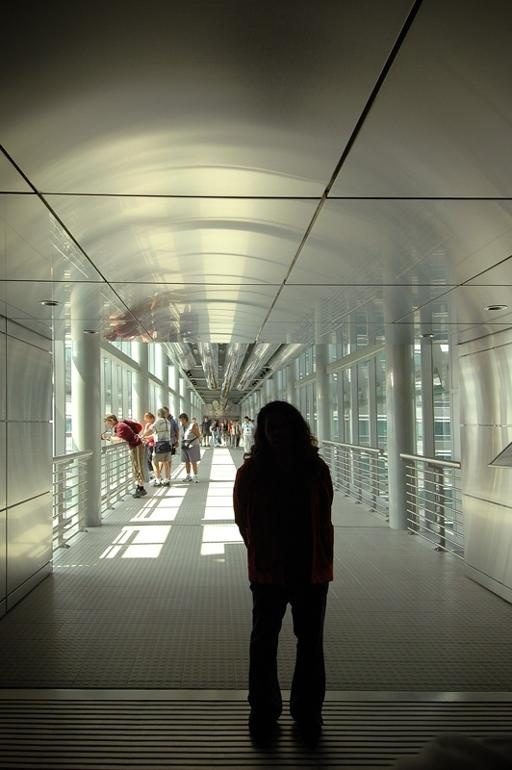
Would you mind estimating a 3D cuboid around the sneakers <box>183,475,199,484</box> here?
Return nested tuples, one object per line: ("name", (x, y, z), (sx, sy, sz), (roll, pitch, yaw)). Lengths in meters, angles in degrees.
("sneakers", (-1.630, 2.347, 13.323), (0.433, 0.206, 0.147), (9, -23, -16))

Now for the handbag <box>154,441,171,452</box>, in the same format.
("handbag", (-2.109, 1.368, 11.947), (0.237, 0.227, 0.295), (-3, -9, -32))

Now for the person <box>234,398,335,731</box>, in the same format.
("person", (0.112, 0.802, 2.393), (0.425, 1.463, 0.230), (2, -7, -4))

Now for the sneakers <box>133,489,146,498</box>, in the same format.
("sneakers", (-2.399, 2.155, 10.810), (0.246, 0.215, 0.300), (1, -6, -3))
